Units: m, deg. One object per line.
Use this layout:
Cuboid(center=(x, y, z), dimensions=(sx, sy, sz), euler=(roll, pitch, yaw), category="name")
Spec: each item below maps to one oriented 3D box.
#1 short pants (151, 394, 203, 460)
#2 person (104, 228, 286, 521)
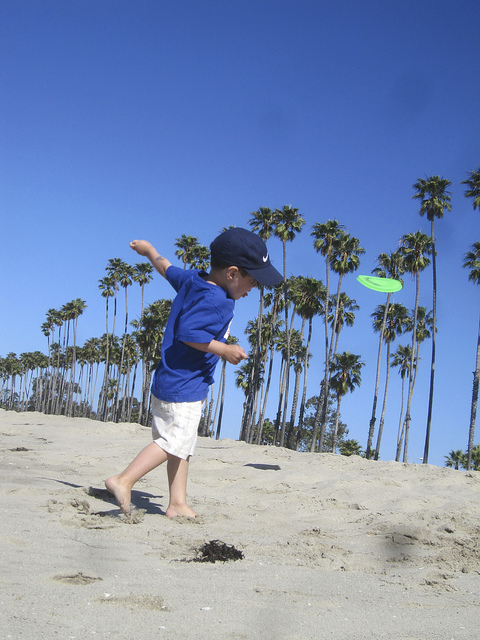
Cuboid(center=(-0.408, 0.601, 3.483), dimensions=(0.283, 0.573, 0.388), euler=(0, -2, -14), category="short pants")
Cuboid(center=(-0.274, 0.314, 3.463), dimensions=(0.959, 1.741, 0.642), euler=(4, -5, 25), category="person")
